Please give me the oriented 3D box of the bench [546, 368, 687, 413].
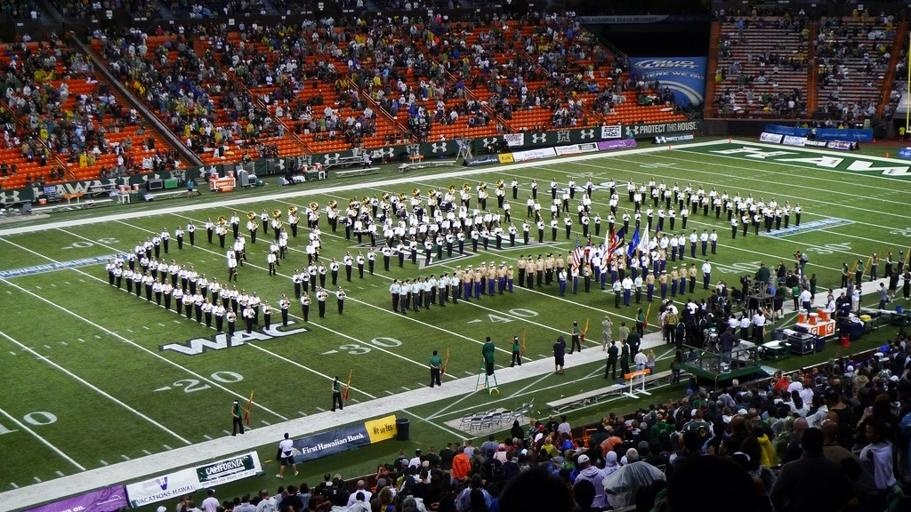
[{"bbox_3d":[5.846,5.055,37.666,5.168,0.554,0.913,-11,19,-19],"label":"bench"}]
